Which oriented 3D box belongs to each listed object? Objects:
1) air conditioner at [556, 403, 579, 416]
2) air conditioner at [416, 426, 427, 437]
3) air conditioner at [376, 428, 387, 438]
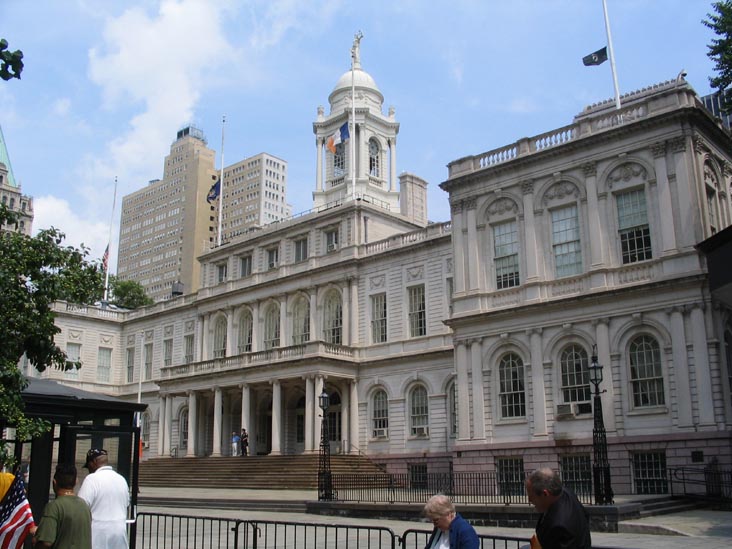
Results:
[{"bbox_3d":[8.342,5.645,30.337,0.719,0.549,0.508,-13,-23,37],"label":"air conditioner"},{"bbox_3d":[3.051,8.565,40.379,0.731,0.736,0.367,-3,-9,39],"label":"air conditioner"},{"bbox_3d":[0.882,9.140,41.984,0.245,0.659,0.982,16,-27,-43],"label":"air conditioner"}]
